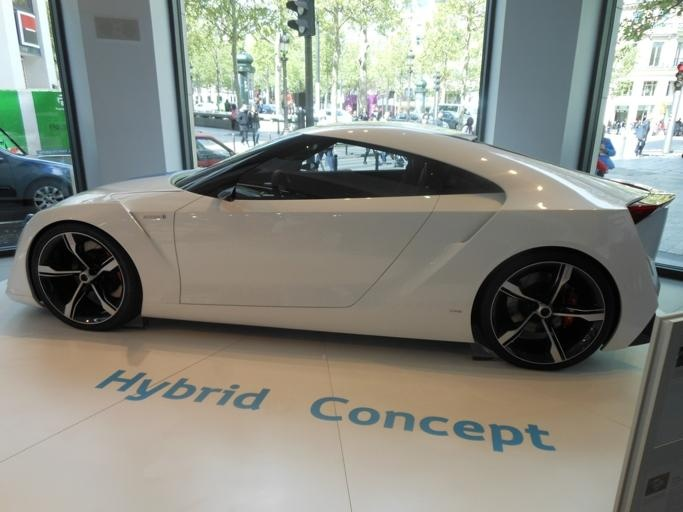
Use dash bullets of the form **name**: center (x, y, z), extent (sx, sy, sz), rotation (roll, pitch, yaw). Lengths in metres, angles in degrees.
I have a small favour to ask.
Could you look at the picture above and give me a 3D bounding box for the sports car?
- **sports car**: center (-0.066, -0.217, 3.368), extent (3.875, 1.209, 1.865), rotation (4, 11, 6)
